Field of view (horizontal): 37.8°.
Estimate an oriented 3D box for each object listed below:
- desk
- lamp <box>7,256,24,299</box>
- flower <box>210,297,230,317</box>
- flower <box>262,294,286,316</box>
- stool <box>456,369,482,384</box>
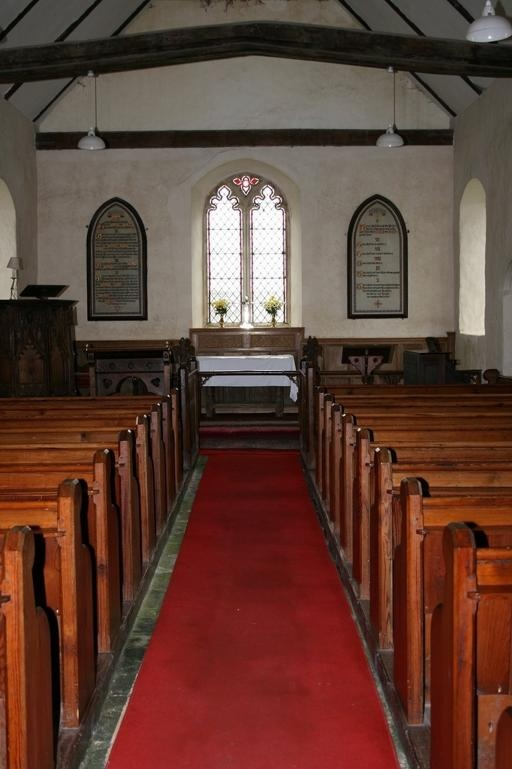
[{"bbox_3d":[-0.126,-0.023,9.389,1.199,0.662,2.388,1,4,-4],"label":"desk"},{"bbox_3d":[-3.055,-1.364,9.483,0.176,0.558,0.503,0,5,-19],"label":"lamp"},{"bbox_3d":[-0.523,-1.111,10.847,0.211,0.296,0.253,-2,-2,-23],"label":"flower"},{"bbox_3d":[0.267,-1.154,10.956,0.291,0.371,0.318,0,6,12],"label":"flower"},{"bbox_3d":[2.447,-0.087,8.612,0.163,0.189,0.180,0,-2,5],"label":"stool"}]
